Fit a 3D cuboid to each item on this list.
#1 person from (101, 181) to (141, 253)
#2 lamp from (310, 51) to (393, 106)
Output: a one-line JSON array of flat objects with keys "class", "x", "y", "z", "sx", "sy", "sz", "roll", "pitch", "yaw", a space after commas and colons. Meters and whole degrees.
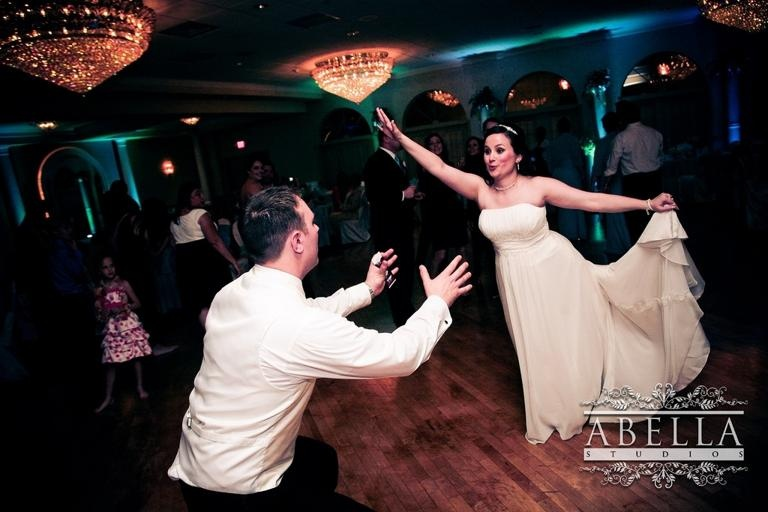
[{"class": "person", "x": -3.340, "y": -0.517, "z": 6.156, "sx": 0.467, "sy": 0.841, "sz": 0.388, "roll": -15, "pitch": 16, "yaw": -22}, {"class": "lamp", "x": -0.525, "y": -3.132, "z": 8.584, "sx": 1.357, "sy": 0.785, "sz": 0.746, "roll": -9, "pitch": 15, "yaw": -3}]
